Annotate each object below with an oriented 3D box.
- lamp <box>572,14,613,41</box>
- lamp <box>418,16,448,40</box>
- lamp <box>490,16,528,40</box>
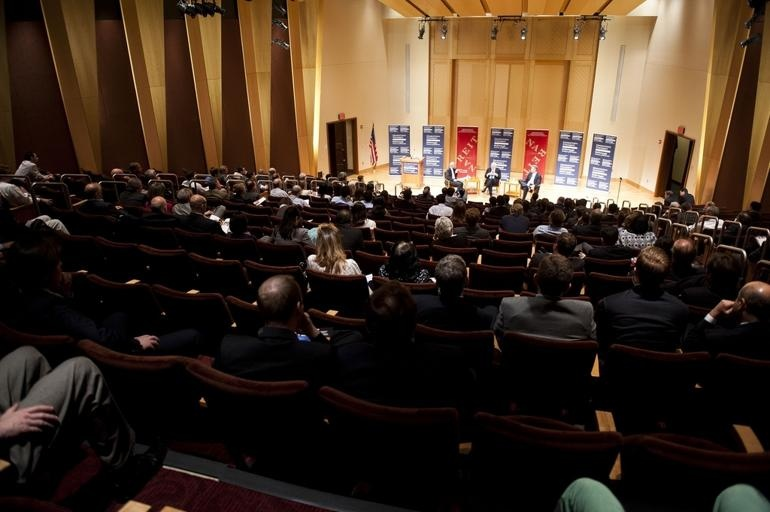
[{"bbox_3d":[7.017,-7.900,17.833,1.066,0.721,0.756,7,16,18],"label":"lamp"},{"bbox_3d":[1.856,-8.642,19.470,1.056,0.749,0.211,2,41,4],"label":"lamp"},{"bbox_3d":[4.393,-8.185,18.502,1.140,0.262,1.068,7,56,11],"label":"lamp"}]
